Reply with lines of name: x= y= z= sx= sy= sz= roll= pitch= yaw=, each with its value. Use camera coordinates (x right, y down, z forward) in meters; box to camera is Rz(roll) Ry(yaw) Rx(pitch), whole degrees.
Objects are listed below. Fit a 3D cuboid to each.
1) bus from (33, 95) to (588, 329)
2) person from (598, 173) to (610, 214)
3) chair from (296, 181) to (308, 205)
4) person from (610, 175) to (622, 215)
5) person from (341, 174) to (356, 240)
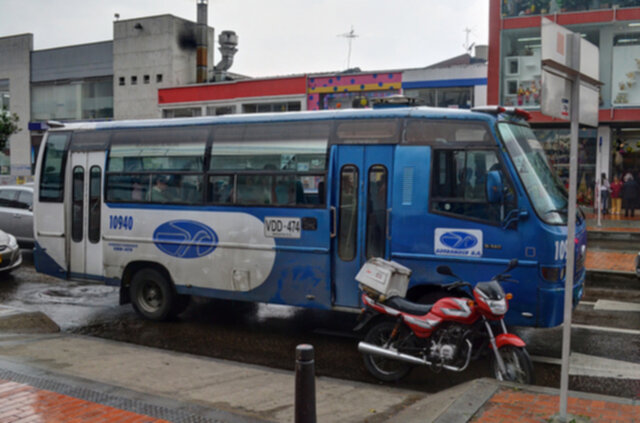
bus: x=-0.765 y=0.190 z=11.234 sx=10.085 sy=4.128 sz=1.130 roll=1 pitch=8 yaw=18
person: x=12.849 y=-0.824 z=26.726 sx=0.401 sy=1.842 sz=0.985 roll=2 pitch=8 yaw=26
chair: x=-0.372 y=-0.335 z=10.897 sx=0.225 sy=0.392 sz=0.319 roll=1 pitch=-3 yaw=26
person: x=13.298 y=-0.771 z=26.628 sx=0.487 sy=1.694 sz=0.836 roll=3 pitch=8 yaw=29
person: x=0.517 y=-0.113 z=10.600 sx=0.282 sy=1.192 sz=0.234 roll=-1 pitch=7 yaw=0
